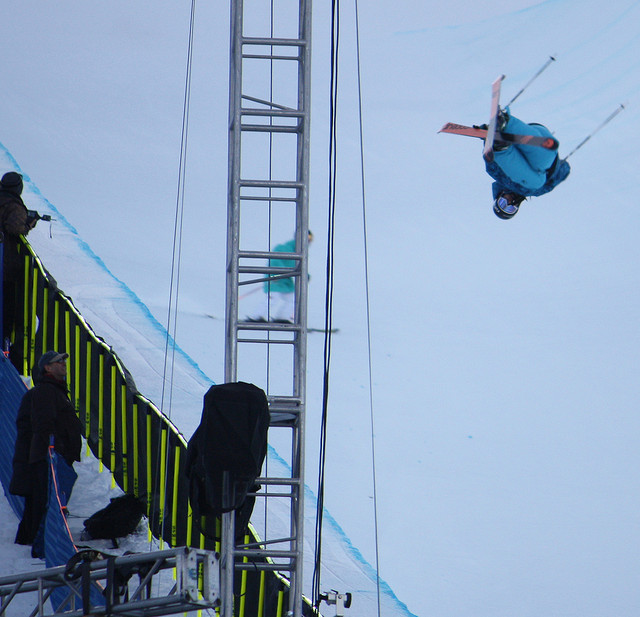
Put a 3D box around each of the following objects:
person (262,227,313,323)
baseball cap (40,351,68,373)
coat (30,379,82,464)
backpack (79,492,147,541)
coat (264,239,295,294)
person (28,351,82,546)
[{"bbox_3d":[-0.744,-0.547,38.126,0.650,2.428,0.484,-4,4,11],"label":"person"},{"bbox_3d":[-4.267,0.762,30.731,0.441,0.348,0.268,-1,-28,-7],"label":"baseball cap"},{"bbox_3d":[-4.296,1.775,30.837,0.841,1.574,1.672,0,-12,-2],"label":"coat"},{"bbox_3d":[-3.268,3.241,30.091,0.781,0.662,0.352,-8,-51,2],"label":"backpack"},{"bbox_3d":[-0.739,-0.922,38.254,0.813,1.114,0.403,2,9,10],"label":"coat"},{"bbox_3d":[-4.236,1.915,30.566,0.780,2.361,1.018,0,-28,-8],"label":"person"}]
